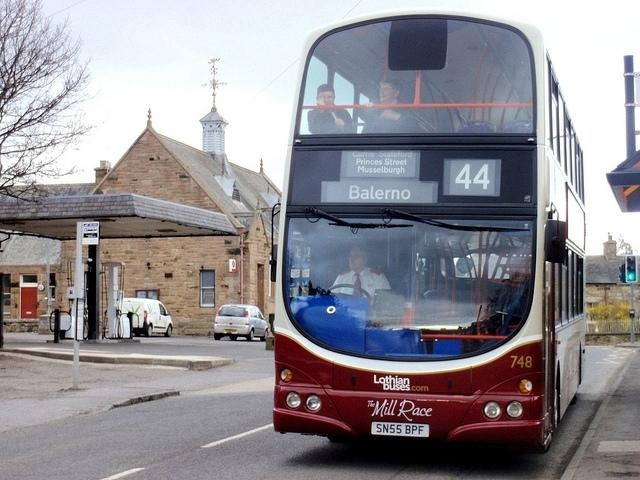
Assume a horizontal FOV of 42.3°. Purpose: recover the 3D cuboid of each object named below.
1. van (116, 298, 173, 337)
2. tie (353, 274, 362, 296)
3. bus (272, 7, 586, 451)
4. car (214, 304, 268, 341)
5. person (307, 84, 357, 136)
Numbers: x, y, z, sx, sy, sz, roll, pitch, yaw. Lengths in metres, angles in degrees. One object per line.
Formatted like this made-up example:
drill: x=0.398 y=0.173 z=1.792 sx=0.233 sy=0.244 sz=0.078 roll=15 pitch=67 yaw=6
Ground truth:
van: x=-8.571 y=3.820 z=41.353 sx=1.422 sy=1.279 sz=2.835 roll=-1 pitch=0 yaw=13
tie: x=0.479 y=0.536 z=9.926 sx=0.092 sy=0.268 sz=0.024 roll=0 pitch=-2 yaw=25
bus: x=1.191 y=-0.280 z=10.185 sx=3.236 sy=5.305 sz=1.470 roll=1 pitch=-2 yaw=-1
car: x=-3.830 y=4.023 z=40.527 sx=1.711 sy=1.710 sz=2.981 roll=0 pitch=-3 yaw=13
person: x=0.132 y=-1.669 z=10.631 sx=0.659 sy=0.952 sz=0.553 roll=-1 pitch=-21 yaw=2
